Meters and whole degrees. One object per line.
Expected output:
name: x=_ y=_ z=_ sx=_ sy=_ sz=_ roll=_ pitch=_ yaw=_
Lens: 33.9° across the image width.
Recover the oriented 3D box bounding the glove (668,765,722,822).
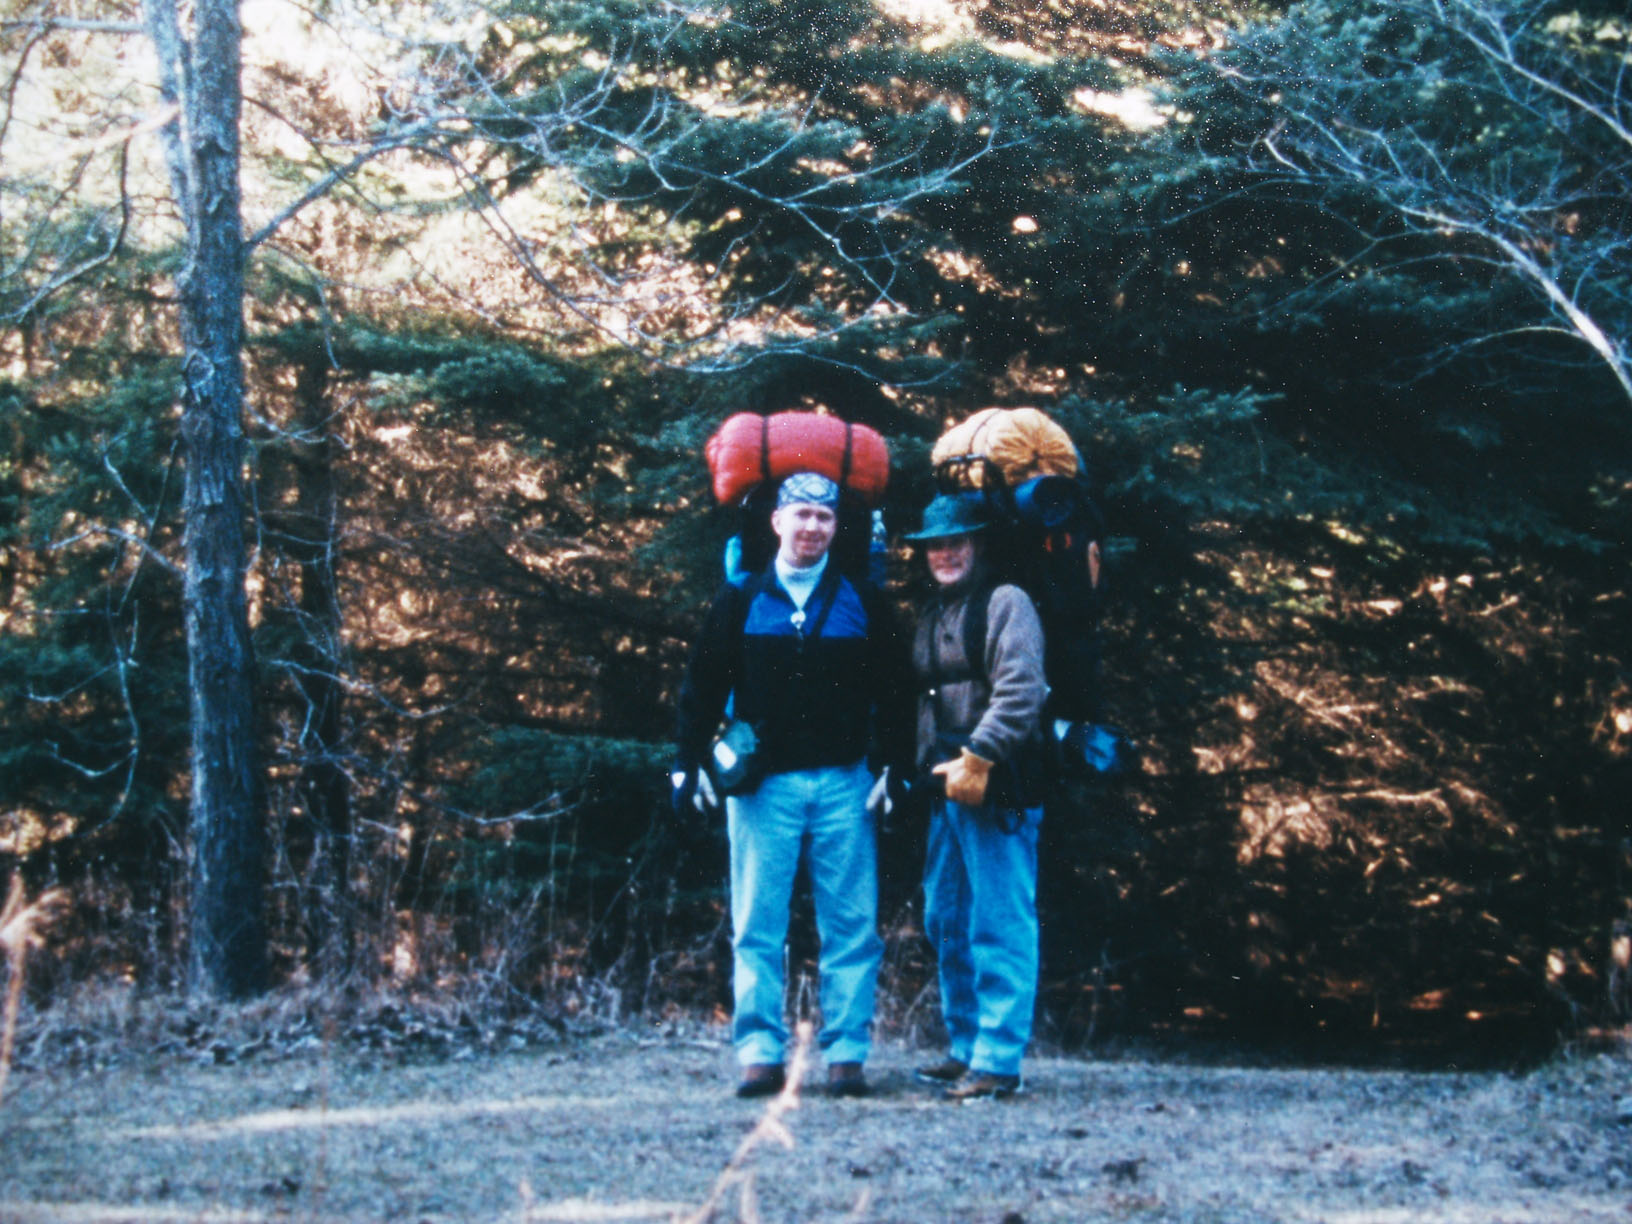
glove: x=-0.805 y=1.217 z=17.781 sx=0.239 sy=0.343 sz=0.366 roll=-1 pitch=-18 yaw=-1

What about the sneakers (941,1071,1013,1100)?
sneakers: x=1.049 y=3.074 z=17.511 sx=0.459 sy=0.189 sz=0.166 roll=5 pitch=-9 yaw=-2

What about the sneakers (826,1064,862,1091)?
sneakers: x=0.176 y=3.022 z=17.403 sx=0.183 sy=0.177 sz=0.179 roll=0 pitch=-1 yaw=4

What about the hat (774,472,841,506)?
hat: x=-0.058 y=-0.792 z=17.636 sx=0.261 sy=0.148 sz=0.258 roll=0 pitch=-9 yaw=-5

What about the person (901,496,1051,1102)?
person: x=1.094 y=1.194 z=17.647 sx=0.917 sy=3.867 sz=1.071 roll=-1 pitch=-15 yaw=2

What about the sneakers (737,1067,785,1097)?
sneakers: x=-0.368 y=3.053 z=17.472 sx=0.323 sy=0.233 sz=0.205 roll=-1 pitch=-15 yaw=-1

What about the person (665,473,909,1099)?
person: x=-0.142 y=1.146 z=17.575 sx=1.161 sy=3.960 sz=1.062 roll=12 pitch=-20 yaw=-40
